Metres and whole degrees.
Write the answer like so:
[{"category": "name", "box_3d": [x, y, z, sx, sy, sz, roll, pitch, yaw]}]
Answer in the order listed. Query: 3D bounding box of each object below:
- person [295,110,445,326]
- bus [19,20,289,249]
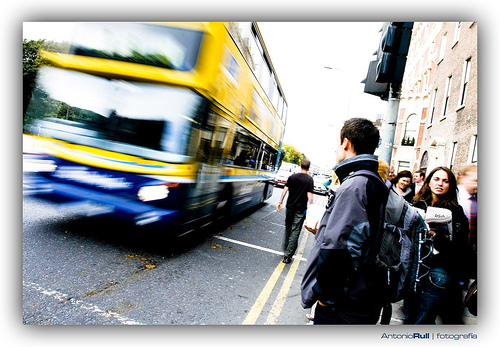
[{"category": "person", "box_3d": [1.230, 0.509, 3.295, 1.175, 2.044, 1.200, 2, 5, -25]}, {"category": "bus", "box_3d": [-1.313, -1.192, 8.564, 3.446, 3.683, 6.588, 14, 5, 19]}]
